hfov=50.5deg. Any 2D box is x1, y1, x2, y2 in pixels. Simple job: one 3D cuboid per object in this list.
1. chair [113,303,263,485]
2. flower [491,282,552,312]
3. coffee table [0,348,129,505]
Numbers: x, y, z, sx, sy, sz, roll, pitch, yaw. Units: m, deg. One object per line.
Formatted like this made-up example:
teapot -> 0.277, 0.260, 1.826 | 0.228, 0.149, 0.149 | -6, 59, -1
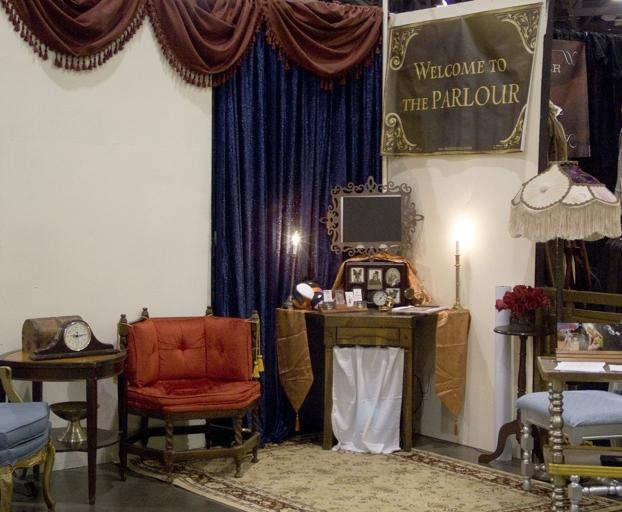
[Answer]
chair -> -0.792, 0.763, 4.548 | 1.035, 1.207, 0.894 | 1, -1, -29
flower -> 1.415, 0.287, 4.325 | 0.205, 0.137, 0.207 | -2, -2, -39
coffee table -> -1.418, 0.947, 4.131 | 0.738, 1.002, 0.804 | -1, -3, 18
